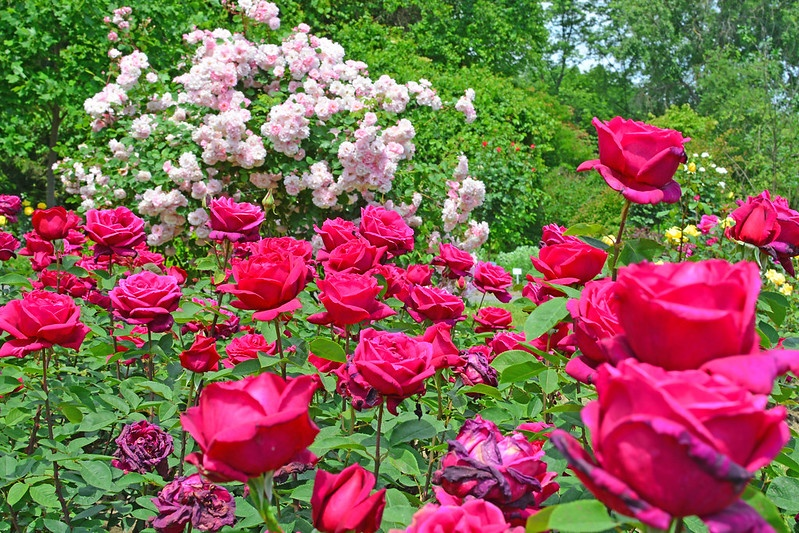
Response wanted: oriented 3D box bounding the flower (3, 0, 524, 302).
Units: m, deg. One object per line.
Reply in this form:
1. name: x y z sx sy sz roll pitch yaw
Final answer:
1. flower: -0.924 -1.009 6.223 2.331 1.358 2.440 2 13 -27
